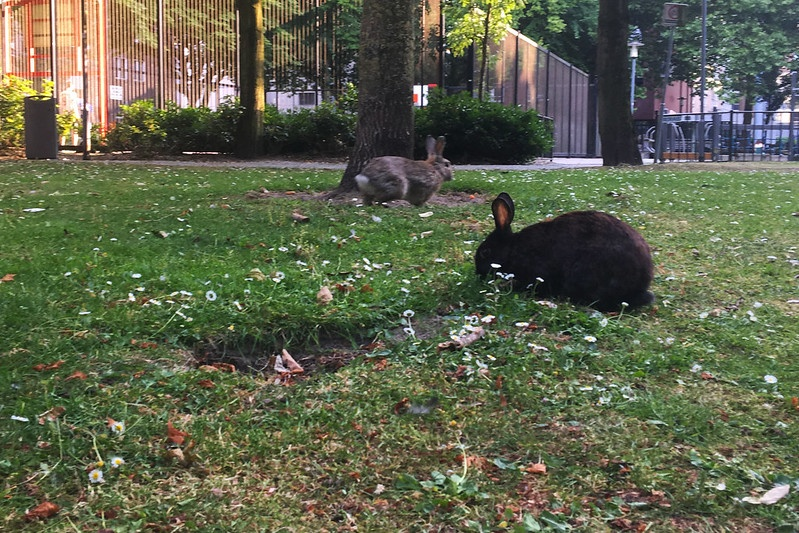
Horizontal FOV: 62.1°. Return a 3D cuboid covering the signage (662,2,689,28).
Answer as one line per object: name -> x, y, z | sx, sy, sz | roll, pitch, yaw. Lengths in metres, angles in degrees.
signage -> 8.155, -7.597, 20.076 | 1.181, 0.764, 0.225 | 2, 4, -2

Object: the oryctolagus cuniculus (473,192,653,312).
oryctolagus cuniculus -> 1.552, -0.133, 6.130 | 1.915, 0.900, 0.927 | 6, 0, 35
